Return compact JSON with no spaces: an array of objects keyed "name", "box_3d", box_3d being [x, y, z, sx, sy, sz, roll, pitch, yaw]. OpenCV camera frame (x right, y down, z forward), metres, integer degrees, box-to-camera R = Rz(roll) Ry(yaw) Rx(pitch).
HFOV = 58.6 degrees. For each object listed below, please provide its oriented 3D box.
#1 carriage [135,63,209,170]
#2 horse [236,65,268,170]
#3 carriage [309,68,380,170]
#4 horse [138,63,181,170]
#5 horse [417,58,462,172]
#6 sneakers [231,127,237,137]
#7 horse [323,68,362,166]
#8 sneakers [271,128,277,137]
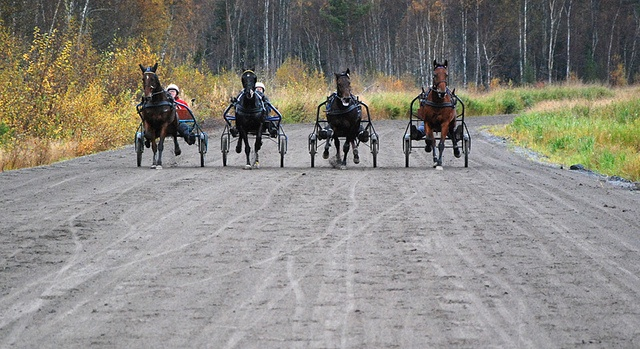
[{"name":"carriage","box_3d":[-5.484,-1.835,19.022,1.893,2.699,4.310,-2,-7,5]},{"name":"horse","box_3d":[-2.346,-1.873,19.105,1.008,3.195,1.919,-2,9,-8]},{"name":"carriage","box_3d":[0.795,-1.641,20.477,1.894,2.802,4.818,0,0,3]},{"name":"horse","box_3d":[-5.356,-1.960,18.833,0.947,3.396,1.392,3,9,19]},{"name":"horse","box_3d":[3.965,-2.015,18.879,1.282,3.517,1.839,2,9,13]},{"name":"sneakers","box_3d":[-2.825,-1.395,18.824,0.208,0.256,0.270,1,5,12]},{"name":"horse","box_3d":[0.754,-1.871,19.083,1.187,3.276,2.311,0,9,3]},{"name":"sneakers","box_3d":[-1.587,-1.410,19.398,0.216,0.241,0.415,-6,-28,1]}]
